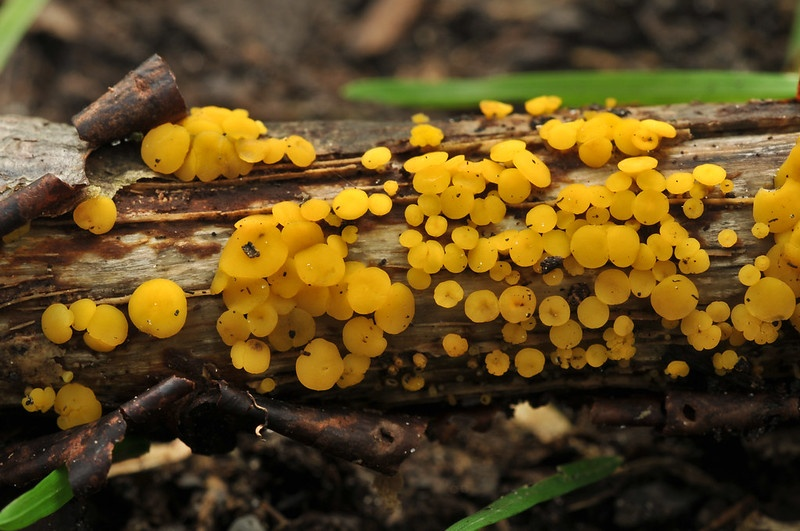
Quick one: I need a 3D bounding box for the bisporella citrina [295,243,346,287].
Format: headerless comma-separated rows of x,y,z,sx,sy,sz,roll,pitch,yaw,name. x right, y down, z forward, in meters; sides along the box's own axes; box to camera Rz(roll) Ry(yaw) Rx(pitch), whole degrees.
-0.489,0.001,5.302,0.286,0.134,0.264,-21,79,1,bisporella citrina

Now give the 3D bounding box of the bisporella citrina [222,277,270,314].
-0.948,0.190,5.317,0.286,0.060,0.203,-5,79,4,bisporella citrina

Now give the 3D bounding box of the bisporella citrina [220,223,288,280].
-0.880,-0.092,5.288,0.372,0.081,0.360,16,81,7,bisporella citrina
